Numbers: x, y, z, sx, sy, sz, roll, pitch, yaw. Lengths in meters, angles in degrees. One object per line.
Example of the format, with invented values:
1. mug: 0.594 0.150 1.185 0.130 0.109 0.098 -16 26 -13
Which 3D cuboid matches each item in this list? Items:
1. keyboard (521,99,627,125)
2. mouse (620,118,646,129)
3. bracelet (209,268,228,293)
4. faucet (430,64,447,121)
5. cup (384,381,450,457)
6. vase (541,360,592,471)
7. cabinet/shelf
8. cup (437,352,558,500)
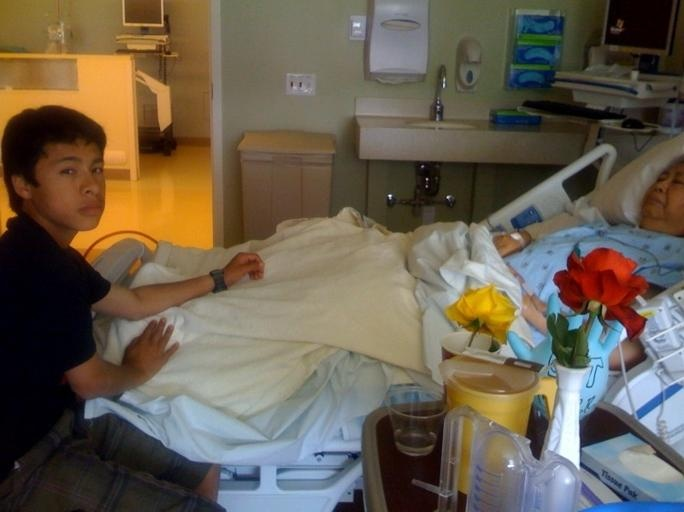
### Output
1. keyboard: 1.153 -0.739 2.775 0.235 0.130 0.589 -1 12 -19
2. mouse: 1.287 -0.584 2.421 0.100 0.048 0.133 9 13 28
3. bracelet: -0.362 0.074 1.615 0.041 0.066 0.065 -7 17 -19
4. faucet: 0.575 -0.961 3.241 0.086 0.332 0.174 4 12 8
5. cup: 0.154 0.311 1.080 0.111 0.083 0.109 2 16 -1
6. vase: 0.345 0.248 0.843 0.052 0.161 0.029 8 13 23
7. cabinet/shelf: -0.368 -0.465 3.291 0.626 0.768 0.453 -8 42 -18
8. cup: 0.255 0.229 0.916 0.212 0.220 0.179 10 15 44
